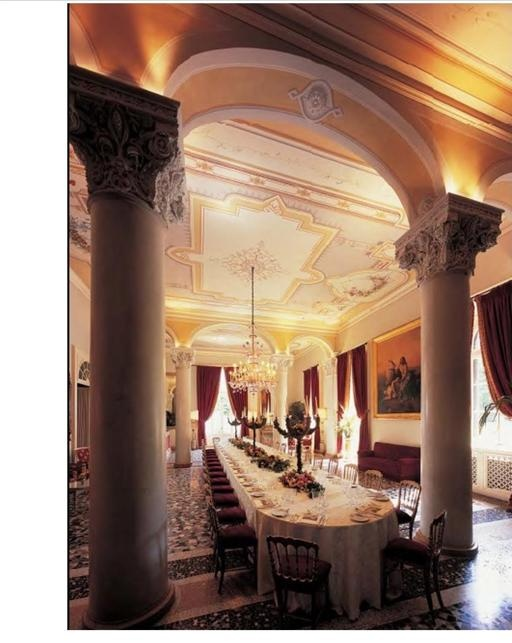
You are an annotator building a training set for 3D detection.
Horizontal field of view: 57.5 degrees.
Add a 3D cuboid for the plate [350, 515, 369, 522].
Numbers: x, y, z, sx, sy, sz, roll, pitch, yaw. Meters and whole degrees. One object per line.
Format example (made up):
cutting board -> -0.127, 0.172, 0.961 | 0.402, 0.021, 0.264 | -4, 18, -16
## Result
plate -> 0.854, 1.602, 3.784 | 0.152, 0.022, 0.120 | -1, -8, 4
